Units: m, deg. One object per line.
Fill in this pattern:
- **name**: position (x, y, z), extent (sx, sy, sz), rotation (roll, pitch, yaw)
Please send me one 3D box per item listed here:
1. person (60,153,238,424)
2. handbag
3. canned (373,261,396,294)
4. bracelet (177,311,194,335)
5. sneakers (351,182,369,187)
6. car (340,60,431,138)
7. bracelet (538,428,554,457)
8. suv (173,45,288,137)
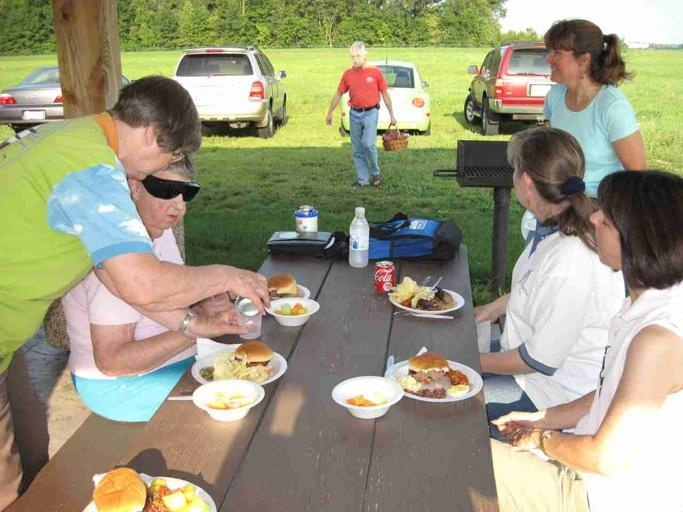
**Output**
- **person**: position (-1.008, 0.158, 3.129), extent (0.967, 1.533, 0.873), rotation (3, 16, -1)
- **handbag**: position (0.561, -0.137, 4.220), extent (0.472, 0.188, 0.391), rotation (2, 22, 6)
- **canned**: position (0.282, 0.138, 3.608), extent (0.177, 0.162, 0.187), rotation (1, 9, -5)
- **bracelet**: position (-0.788, 0.339, 2.849), extent (0.091, 0.098, 0.094), rotation (6, 16, 15)
- **sneakers**: position (0.336, -1.335, 10.295), extent (0.209, 0.112, 0.142), rotation (9, 22, 27)
- **car**: position (1.513, -3.801, 13.747), extent (1.577, 1.385, 2.950), rotation (0, 25, 4)
- **bracelet**: position (0.898, 0.841, 2.460), extent (0.035, 0.101, 0.095), rotation (-1, -14, 7)
- **suv**: position (-2.484, -4.434, 14.529), extent (2.084, 1.701, 4.235), rotation (2, 20, 5)
